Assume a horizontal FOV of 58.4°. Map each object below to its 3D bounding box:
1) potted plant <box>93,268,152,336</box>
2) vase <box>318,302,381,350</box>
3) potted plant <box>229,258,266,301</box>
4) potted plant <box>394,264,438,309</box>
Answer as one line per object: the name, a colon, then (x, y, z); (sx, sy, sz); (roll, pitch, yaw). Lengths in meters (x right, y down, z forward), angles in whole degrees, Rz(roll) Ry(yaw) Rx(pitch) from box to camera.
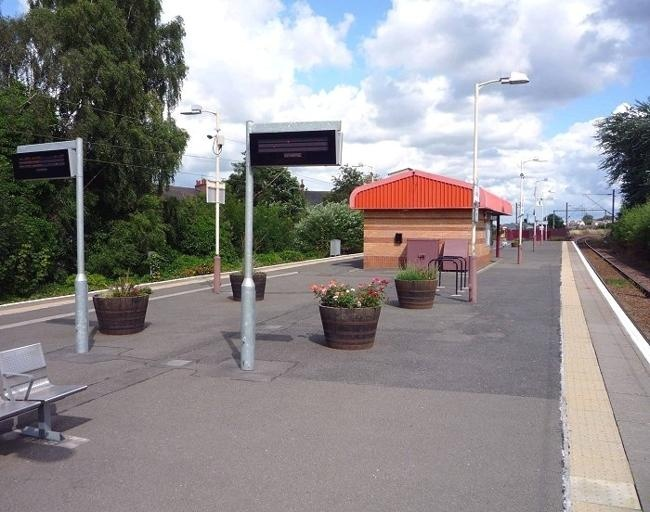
potted plant: (-4.339, 1.185, 12.658); (1.023, 1.180, 1.214); (1, -4, -32)
vase: (0.424, 1.335, 10.960); (0.848, 0.573, 0.843); (-2, -6, 26)
potted plant: (-2.366, 0.853, 18.001); (1.008, 0.763, 0.990); (-1, -2, 3)
potted plant: (2.467, 0.838, 15.755); (0.985, 1.004, 1.077); (0, -3, 16)
